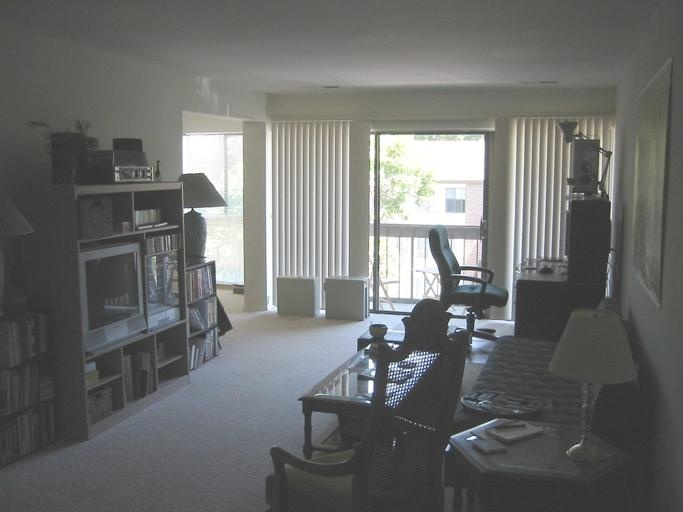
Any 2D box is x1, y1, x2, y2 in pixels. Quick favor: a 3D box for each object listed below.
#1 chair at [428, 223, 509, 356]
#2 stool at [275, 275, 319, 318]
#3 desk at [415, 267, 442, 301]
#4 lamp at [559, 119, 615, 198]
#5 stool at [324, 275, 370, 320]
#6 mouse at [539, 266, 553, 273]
[{"bbox_3d":[1.484,0.204,6.458,1.250,1.910,1.105,-1,10,15],"label":"chair"},{"bbox_3d":[-0.583,0.541,7.116,0.461,0.462,0.249,2,11,10],"label":"stool"},{"bbox_3d":[1.521,0.473,9.069,0.515,0.519,0.529,3,6,15],"label":"desk"},{"bbox_3d":[2.738,-1.146,6.025,0.612,0.861,1.824,4,11,26],"label":"lamp"},{"bbox_3d":[0.100,0.531,7.124,0.542,0.538,0.529,-1,5,9],"label":"stool"},{"bbox_3d":[2.110,0.141,5.462,0.089,0.023,0.085,1,17,20],"label":"mouse"}]
